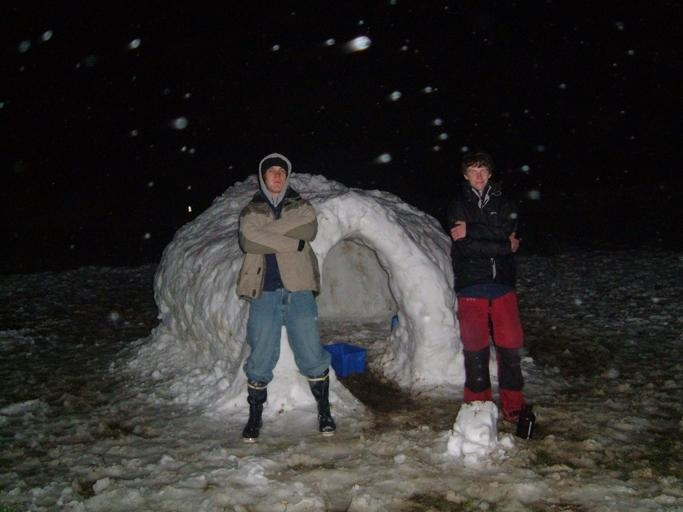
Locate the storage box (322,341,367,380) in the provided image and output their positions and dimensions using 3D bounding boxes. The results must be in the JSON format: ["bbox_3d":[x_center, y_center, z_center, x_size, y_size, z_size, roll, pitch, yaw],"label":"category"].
[{"bbox_3d":[0.042,1.421,6.739,0.657,0.399,0.650,-6,13,-30],"label":"storage box"}]

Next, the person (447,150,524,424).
[{"bbox_3d":[1.468,0.287,4.805,0.743,2.652,0.598,1,10,24],"label":"person"}]

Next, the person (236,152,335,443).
[{"bbox_3d":[-0.591,0.363,4.733,0.888,2.735,0.693,-4,9,-5],"label":"person"}]

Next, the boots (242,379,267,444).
[{"bbox_3d":[-0.850,1.493,4.637,0.160,0.517,0.277,1,10,26],"label":"boots"}]

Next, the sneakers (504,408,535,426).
[{"bbox_3d":[1.694,1.549,4.601,0.374,0.169,0.130,-9,-19,40],"label":"sneakers"}]
